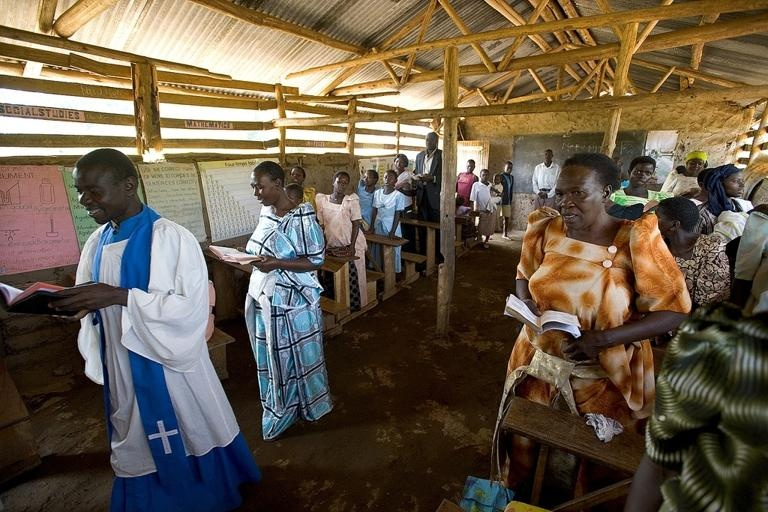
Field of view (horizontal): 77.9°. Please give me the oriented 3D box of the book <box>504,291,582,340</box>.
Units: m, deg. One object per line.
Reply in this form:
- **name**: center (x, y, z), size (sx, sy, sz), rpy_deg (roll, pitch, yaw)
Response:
- **book**: center (1.158, 0.315, 3.374), size (0.555, 0.154, 0.297), rpy_deg (10, 24, 27)

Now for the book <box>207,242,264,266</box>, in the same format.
- **book**: center (-1.337, -0.021, 4.257), size (0.271, 0.103, 0.328), rpy_deg (-3, 9, -44)
